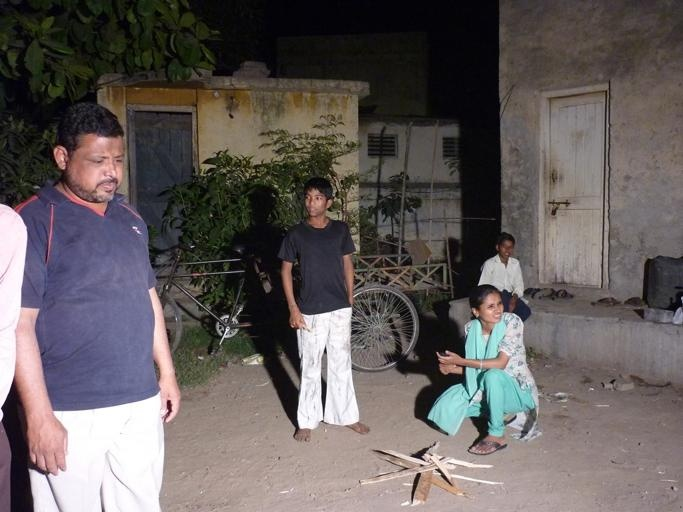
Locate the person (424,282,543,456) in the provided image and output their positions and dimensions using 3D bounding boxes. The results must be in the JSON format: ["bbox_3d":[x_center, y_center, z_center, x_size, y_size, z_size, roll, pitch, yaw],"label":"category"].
[{"bbox_3d":[1.353,1.021,6.055,0.998,1.456,0.757,-1,13,-1],"label":"person"}]

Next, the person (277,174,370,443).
[{"bbox_3d":[-0.175,0.498,6.216,0.798,2.459,0.614,-3,13,-8],"label":"person"}]

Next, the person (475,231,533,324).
[{"bbox_3d":[2.044,0.261,7.984,0.685,1.046,0.701,7,20,18],"label":"person"}]

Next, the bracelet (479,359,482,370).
[{"bbox_3d":[1.297,1.009,6.018,0.032,0.086,0.029,2,13,14],"label":"bracelet"}]

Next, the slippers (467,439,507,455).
[{"bbox_3d":[1.323,1.736,5.899,0.258,0.086,0.141,-1,-3,-21],"label":"slippers"}]
